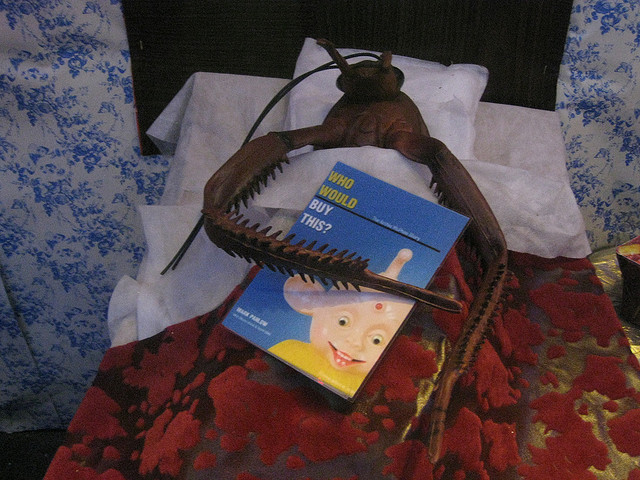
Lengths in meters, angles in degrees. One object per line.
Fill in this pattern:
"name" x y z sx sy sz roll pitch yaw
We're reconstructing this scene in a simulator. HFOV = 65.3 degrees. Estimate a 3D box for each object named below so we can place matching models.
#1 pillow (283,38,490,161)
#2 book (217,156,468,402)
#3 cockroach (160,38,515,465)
"pillow" 0.193 -0.347 1.553 0.485 0.129 0.486 6 49 4
"book" 0.037 0.059 1.096 0.410 0.368 0.380 19 30 29
"cockroach" 0.103 -0.129 1.164 0.810 0.315 1.047 7 62 7
